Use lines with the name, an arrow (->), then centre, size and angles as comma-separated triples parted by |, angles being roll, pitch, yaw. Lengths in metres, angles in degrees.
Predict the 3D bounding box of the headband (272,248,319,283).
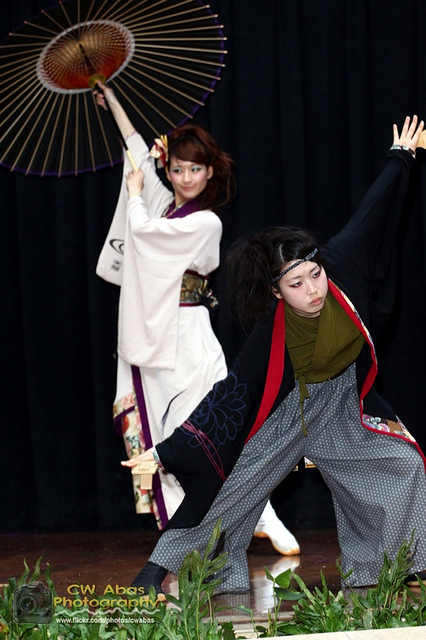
headband -> 0.211, -0.146, 1.602 | 0.089, 0.024, 0.091 | -16, -27, -49
